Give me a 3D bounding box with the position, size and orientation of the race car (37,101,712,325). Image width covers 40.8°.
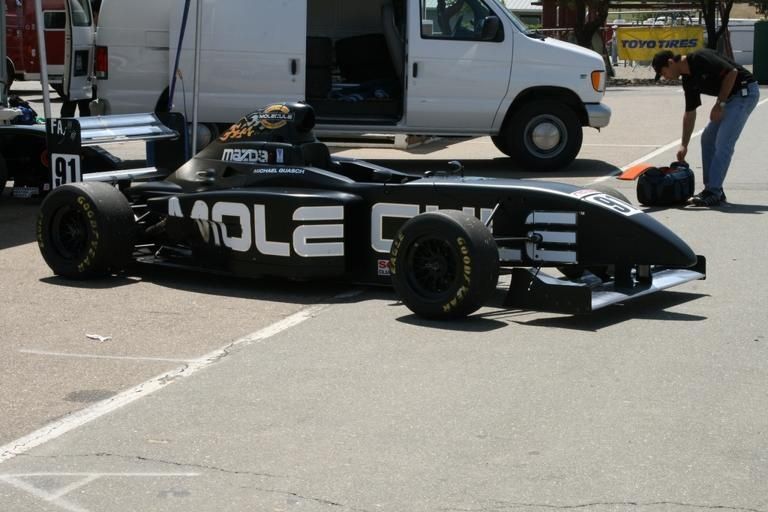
[{"bbox_3d":[-0.373,-0.504,9.029,5.449,1.313,2.674,6,12,31],"label":"race car"}]

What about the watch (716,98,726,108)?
[{"bbox_3d":[3.774,-1.709,11.594,0.086,0.087,0.063,4,12,40],"label":"watch"}]

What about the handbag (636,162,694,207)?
[{"bbox_3d":[3.168,-0.793,11.643,0.658,0.549,0.350,4,45,-2],"label":"handbag"}]
